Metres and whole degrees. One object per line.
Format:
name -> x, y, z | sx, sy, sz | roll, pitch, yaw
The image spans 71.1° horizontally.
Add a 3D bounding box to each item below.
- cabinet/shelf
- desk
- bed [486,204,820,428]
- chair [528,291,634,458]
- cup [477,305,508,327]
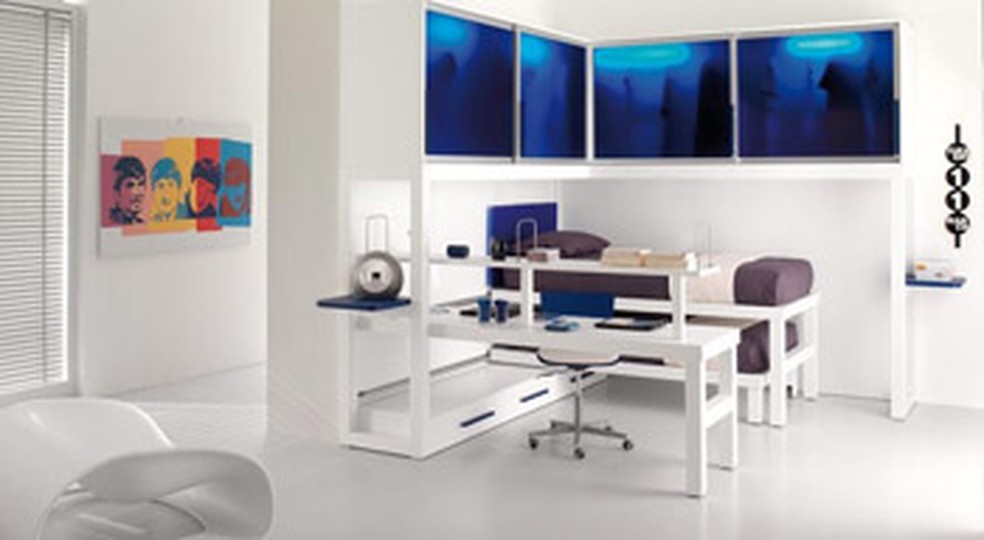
cabinet/shelf -> 2.275, -1.765, 6.953 | 3.369, 1.355, 0.621 | 3, 15, 11
desk -> 0.544, 1.001, 5.948 | 2.238, 0.817, 2.044 | 0, 1, 25
bed -> 1.746, 0.321, 7.759 | 3.201, 1.811, 1.927 | 8, 9, 28
chair -> 0.814, 0.873, 6.113 | 0.977, 1.330, 0.928 | 0, 2, 18
cup -> -0.003, 0.413, 6.085 | 0.242, 0.150, 0.151 | 0, -1, 25
